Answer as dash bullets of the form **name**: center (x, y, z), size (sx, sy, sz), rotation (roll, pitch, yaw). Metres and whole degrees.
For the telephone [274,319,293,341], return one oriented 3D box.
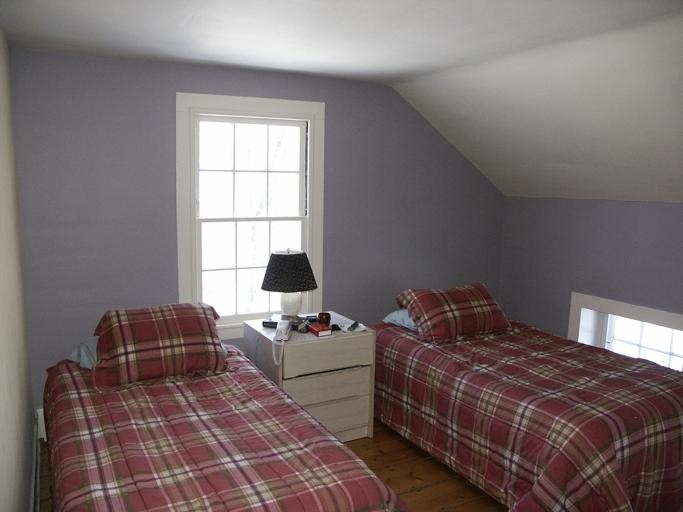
- **telephone**: center (-0.389, 0.491, 3.287), size (0.112, 0.084, 0.253), rotation (-1, 6, -5)

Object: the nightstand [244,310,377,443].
- **nightstand**: center (-0.214, 0.873, 3.538), size (0.780, 0.699, 0.583), rotation (-1, 3, -33)

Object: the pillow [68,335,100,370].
- **pillow**: center (-1.617, 0.624, 3.131), size (0.114, 0.162, 0.115), rotation (-21, -3, -12)

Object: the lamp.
- **lamp**: center (-0.370, 0.203, 3.401), size (0.299, 0.477, 0.270), rotation (-7, 10, -44)

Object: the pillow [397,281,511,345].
- **pillow**: center (0.840, 0.402, 3.843), size (0.861, 0.244, 0.554), rotation (0, 16, -27)

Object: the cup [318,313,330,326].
- **cup**: center (-0.120, 0.432, 3.391), size (0.077, 0.055, 0.076), rotation (0, 5, 0)
